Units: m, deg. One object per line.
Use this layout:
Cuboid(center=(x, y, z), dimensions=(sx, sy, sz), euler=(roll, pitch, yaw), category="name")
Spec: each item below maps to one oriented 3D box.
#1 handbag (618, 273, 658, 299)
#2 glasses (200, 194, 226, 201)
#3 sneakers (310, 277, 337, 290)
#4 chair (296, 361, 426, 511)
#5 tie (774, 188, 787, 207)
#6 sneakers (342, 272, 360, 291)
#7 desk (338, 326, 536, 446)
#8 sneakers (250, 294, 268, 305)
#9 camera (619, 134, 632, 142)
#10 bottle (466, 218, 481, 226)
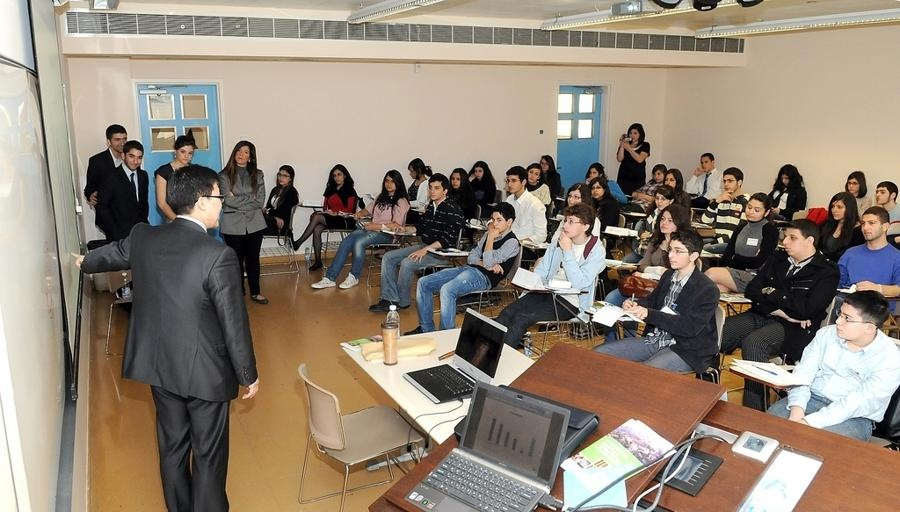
Cuboid(center=(1.918, 0.279, 5.634), dimensions=(0.246, 0.125, 0.299), euler=(-1, 10, -19), category="handbag")
Cuboid(center=(-1.541, -0.387, 3.642), dimensions=(0.110, 0.029, 0.106), euler=(-3, 9, -28), category="glasses")
Cuboid(center=(-1.810, 0.402, 8.000), dimensions=(0.367, 0.153, 0.145), euler=(0, 3, -15), category="sneakers")
Cuboid(center=(-0.643, 1.362, 4.079), dimensions=(0.762, 0.979, 0.580), euler=(-19, 37, -27), category="chair")
Cuboid(center=(5.743, -0.964, 9.579), dimensions=(0.169, 0.220, 0.161), euler=(5, 9, 21), category="tie")
Cuboid(center=(-1.421, 0.368, 7.995), dimensions=(0.138, 0.143, 0.324), euler=(10, 8, 26), category="sneakers")
Cuboid(center=(-0.071, 0.885, 4.031), dimensions=(0.716, 0.236, 1.040), euler=(-13, 23, -35), category="desk")
Cuboid(center=(-2.528, 0.562, 7.417), dimensions=(0.227, 0.087, 0.113), euler=(13, 21, 38), category="sneakers")
Cuboid(center=(3.640, -2.463, 11.435), dimensions=(0.218, 0.139, 0.225), euler=(-2, 16, -11), category="camera")
Cuboid(center=(0.367, -0.483, 8.132), dimensions=(0.155, 0.055, 0.154), euler=(4, 11, -1), category="bottle")
